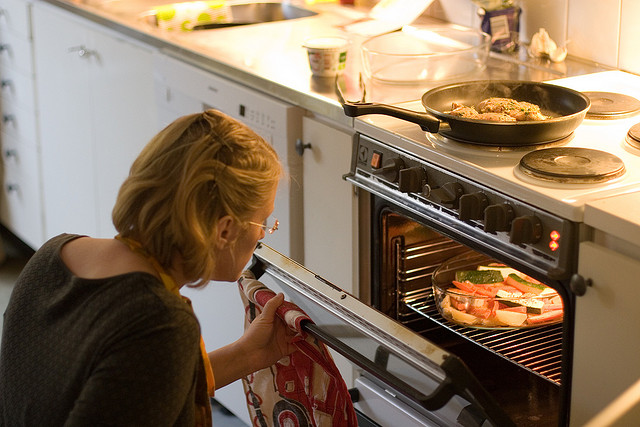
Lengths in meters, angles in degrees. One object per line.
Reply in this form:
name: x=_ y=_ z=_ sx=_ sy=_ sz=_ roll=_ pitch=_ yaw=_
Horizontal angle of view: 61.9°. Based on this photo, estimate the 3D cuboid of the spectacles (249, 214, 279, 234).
spectacles: x=-0.141 y=0.034 z=1.511 sx=0.076 sy=0.023 sz=0.068 roll=-5 pitch=19 yaw=-20

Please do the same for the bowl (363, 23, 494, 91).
bowl: x=0.364 y=-0.543 z=1.933 sx=0.432 sy=0.122 sz=0.420 roll=-3 pitch=22 yaw=1

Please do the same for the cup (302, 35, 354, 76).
cup: x=0.029 y=-0.537 z=1.875 sx=0.172 sy=0.106 sz=0.162 roll=1 pitch=28 yaw=-1
